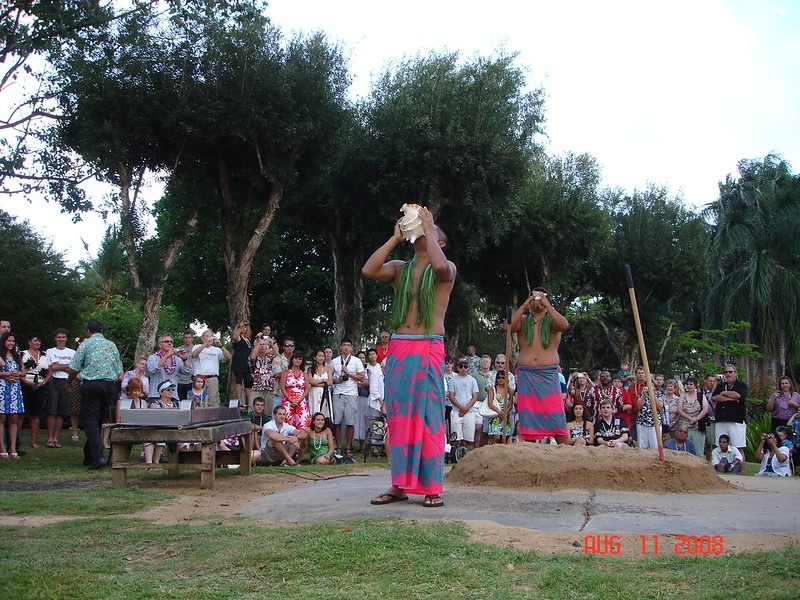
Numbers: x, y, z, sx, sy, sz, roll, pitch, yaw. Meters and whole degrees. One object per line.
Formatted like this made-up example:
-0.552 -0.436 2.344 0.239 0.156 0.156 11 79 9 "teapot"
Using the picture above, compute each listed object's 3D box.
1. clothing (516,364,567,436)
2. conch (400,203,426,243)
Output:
2.007 1.431 11.164 0.853 1.308 0.641 -6 -18 19 "clothing"
0.110 -0.868 8.732 0.280 0.402 0.281 -7 11 21 "conch"
